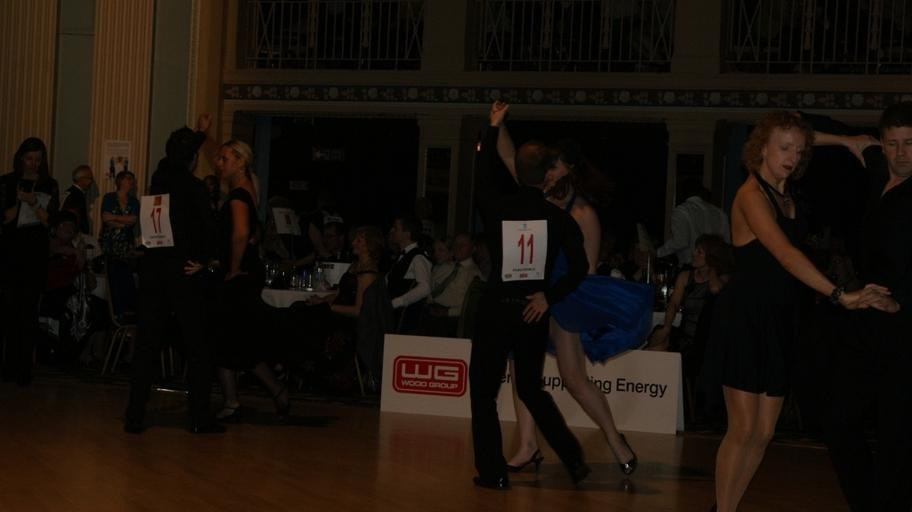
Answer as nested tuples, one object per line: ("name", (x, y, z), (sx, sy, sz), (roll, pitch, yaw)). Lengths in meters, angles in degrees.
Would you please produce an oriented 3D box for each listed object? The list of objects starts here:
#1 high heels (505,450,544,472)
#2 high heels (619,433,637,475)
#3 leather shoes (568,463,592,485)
("high heels", (0.625, 1.798, 7.330), (0.416, 0.204, 0.140), (2, -2, -11))
("high heels", (1.523, 1.755, 7.349), (0.099, 0.372, 0.148), (-11, -7, -22))
("leather shoes", (1.059, 1.857, 7.113), (0.158, 0.155, 0.186), (-7, -16, 9))
